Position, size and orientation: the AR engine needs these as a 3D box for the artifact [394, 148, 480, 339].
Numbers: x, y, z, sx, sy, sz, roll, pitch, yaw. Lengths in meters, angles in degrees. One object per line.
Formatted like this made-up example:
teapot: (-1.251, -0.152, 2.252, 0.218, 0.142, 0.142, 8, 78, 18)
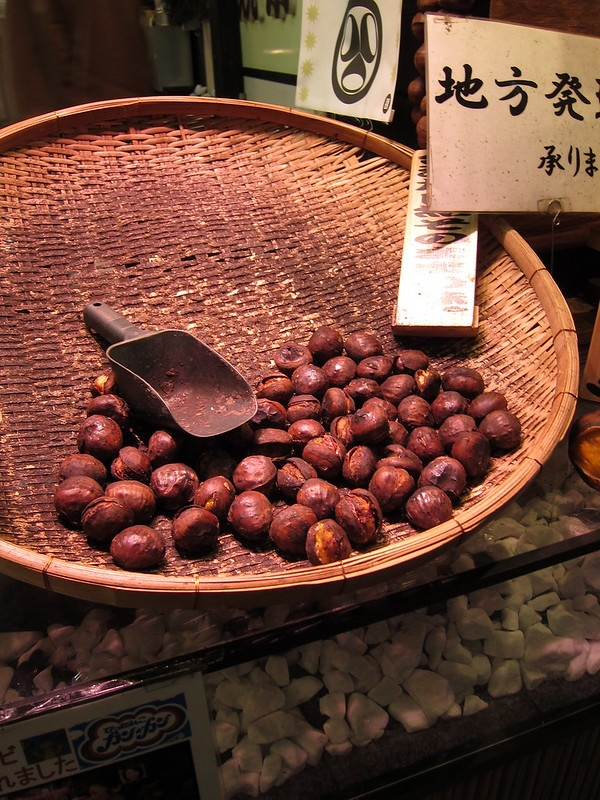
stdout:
artifact: (0.301, -0.321, 1.497, 0.224, 0.070, 0.467, 13, 62, -2)
